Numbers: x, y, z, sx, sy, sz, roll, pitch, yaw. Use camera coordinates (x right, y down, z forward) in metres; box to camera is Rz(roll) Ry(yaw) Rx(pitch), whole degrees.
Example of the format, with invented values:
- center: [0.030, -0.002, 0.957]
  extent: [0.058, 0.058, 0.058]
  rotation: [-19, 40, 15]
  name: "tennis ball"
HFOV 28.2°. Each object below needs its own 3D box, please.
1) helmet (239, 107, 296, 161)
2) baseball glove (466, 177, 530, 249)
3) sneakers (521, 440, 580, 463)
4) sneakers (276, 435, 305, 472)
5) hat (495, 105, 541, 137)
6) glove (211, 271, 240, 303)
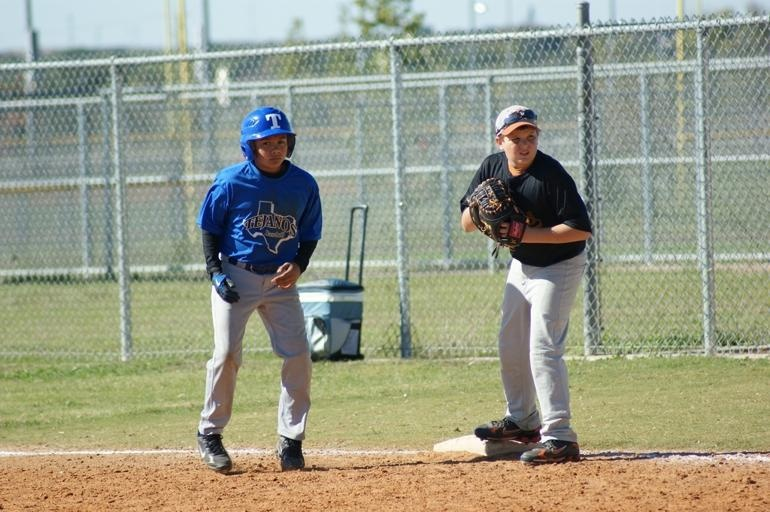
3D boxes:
- center: [-1.289, -1.299, 16.243]
  extent: [0.458, 0.544, 0.593]
  rotation: [-2, -2, -24]
  name: "helmet"
- center: [1.184, -0.426, 16.073]
  extent: [0.498, 0.747, 0.305]
  rotation: [-28, -25, 18]
  name: "baseball glove"
- center: [1.718, 2.056, 15.930]
  extent: [0.555, 0.288, 0.246]
  rotation: [2, -6, -4]
  name: "sneakers"
- center: [-0.996, 2.085, 16.067]
  extent: [0.182, 0.302, 0.390]
  rotation: [3, -3, -21]
  name: "sneakers"
- center: [1.365, -1.402, 15.992]
  extent: [0.427, 0.317, 0.271]
  rotation: [-1, 7, 2]
  name: "hat"
- center: [-1.679, 0.330, 16.092]
  extent: [0.161, 0.320, 0.228]
  rotation: [-34, -3, -38]
  name: "glove"
